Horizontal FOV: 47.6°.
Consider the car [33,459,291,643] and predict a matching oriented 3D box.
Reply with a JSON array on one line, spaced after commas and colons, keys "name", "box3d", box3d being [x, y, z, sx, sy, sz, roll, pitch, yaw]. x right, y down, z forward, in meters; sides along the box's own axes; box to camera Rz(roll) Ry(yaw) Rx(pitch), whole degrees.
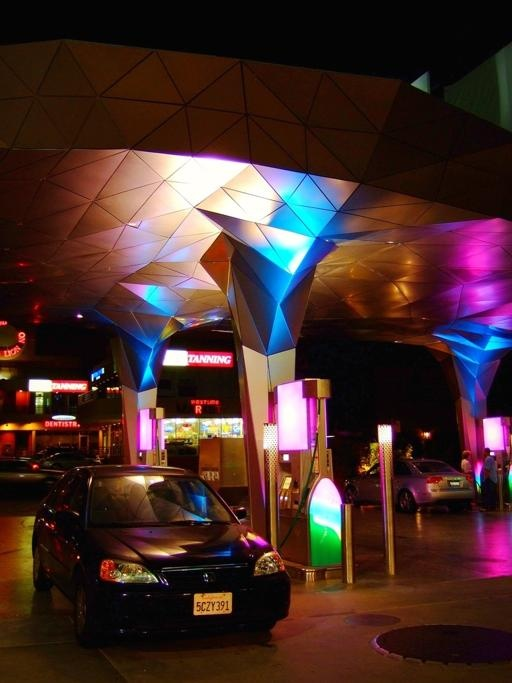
[{"name": "car", "box3d": [-1.112, 1.842, 5.490, 1.259, 0.900, 2.666, 5, -13, -20]}]

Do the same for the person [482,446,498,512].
[{"name": "person", "box3d": [7.834, 4.659, 19.306, 0.454, 1.752, 1.384, 7, -7, 32]}]
